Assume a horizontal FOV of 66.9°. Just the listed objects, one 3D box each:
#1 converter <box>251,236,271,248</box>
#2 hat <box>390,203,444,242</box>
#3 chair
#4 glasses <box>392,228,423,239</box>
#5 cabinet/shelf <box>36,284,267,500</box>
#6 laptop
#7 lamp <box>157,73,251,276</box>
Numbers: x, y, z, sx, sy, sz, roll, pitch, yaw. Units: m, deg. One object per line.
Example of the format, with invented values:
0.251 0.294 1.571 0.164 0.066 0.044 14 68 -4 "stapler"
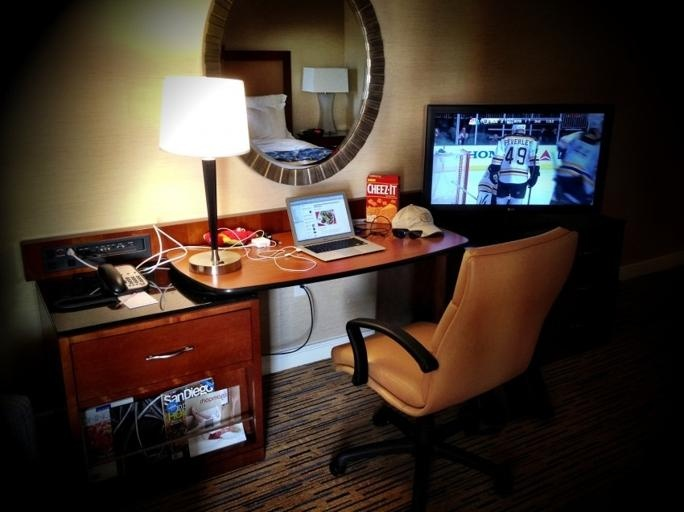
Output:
-0.396 -0.073 2.539 0.058 0.023 0.077 12 16 33 "converter"
0.395 -0.168 2.704 0.156 0.126 0.231 -7 12 -43 "hat"
0.536 0.248 2.657 1.066 1.490 1.193 -16 26 -37 "chair"
0.332 -0.114 2.653 0.075 0.023 0.075 5 31 13 "glasses"
-0.774 0.471 2.534 1.116 1.063 0.814 -11 22 -31 "cabinet/shelf"
-0.029 -0.152 2.513 0.394 0.227 0.382 -14 28 -31 "laptop"
-0.563 -0.335 2.187 0.358 0.808 0.222 -8 19 -18 "lamp"
